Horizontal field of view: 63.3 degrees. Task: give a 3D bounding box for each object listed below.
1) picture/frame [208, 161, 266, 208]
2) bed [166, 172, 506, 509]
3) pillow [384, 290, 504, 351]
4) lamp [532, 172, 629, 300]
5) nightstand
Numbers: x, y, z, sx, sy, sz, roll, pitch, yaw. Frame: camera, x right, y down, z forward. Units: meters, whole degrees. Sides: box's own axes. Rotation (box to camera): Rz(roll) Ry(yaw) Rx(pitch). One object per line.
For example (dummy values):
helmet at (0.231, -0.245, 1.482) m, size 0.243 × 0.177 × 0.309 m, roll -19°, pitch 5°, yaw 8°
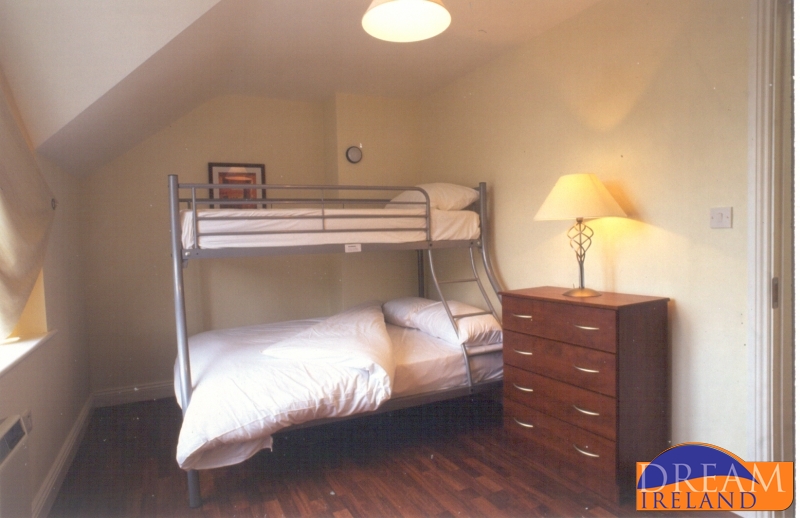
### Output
picture/frame at (-0.628, -0.286, 2.549) m, size 0.282 × 0.115 × 0.231 m, roll 2°, pitch -16°, yaw -10°
bed at (-0.374, 0.204, 3.082) m, size 1.765 × 1.048 × 1.242 m, roll -5°, pitch 8°, yaw -41°
pillow at (0.204, 0.278, 2.911) m, size 0.457 × 0.111 × 0.273 m, roll 14°, pitch 0°, yaw -27°
lamp at (0.784, -0.105, 2.775) m, size 0.369 × 0.521 × 0.320 m, roll -3°, pitch 3°, yaw 17°
nightstand at (0.720, 0.528, 2.453) m, size 0.517 × 0.780 × 0.783 m, roll 4°, pitch -5°, yaw -23°
